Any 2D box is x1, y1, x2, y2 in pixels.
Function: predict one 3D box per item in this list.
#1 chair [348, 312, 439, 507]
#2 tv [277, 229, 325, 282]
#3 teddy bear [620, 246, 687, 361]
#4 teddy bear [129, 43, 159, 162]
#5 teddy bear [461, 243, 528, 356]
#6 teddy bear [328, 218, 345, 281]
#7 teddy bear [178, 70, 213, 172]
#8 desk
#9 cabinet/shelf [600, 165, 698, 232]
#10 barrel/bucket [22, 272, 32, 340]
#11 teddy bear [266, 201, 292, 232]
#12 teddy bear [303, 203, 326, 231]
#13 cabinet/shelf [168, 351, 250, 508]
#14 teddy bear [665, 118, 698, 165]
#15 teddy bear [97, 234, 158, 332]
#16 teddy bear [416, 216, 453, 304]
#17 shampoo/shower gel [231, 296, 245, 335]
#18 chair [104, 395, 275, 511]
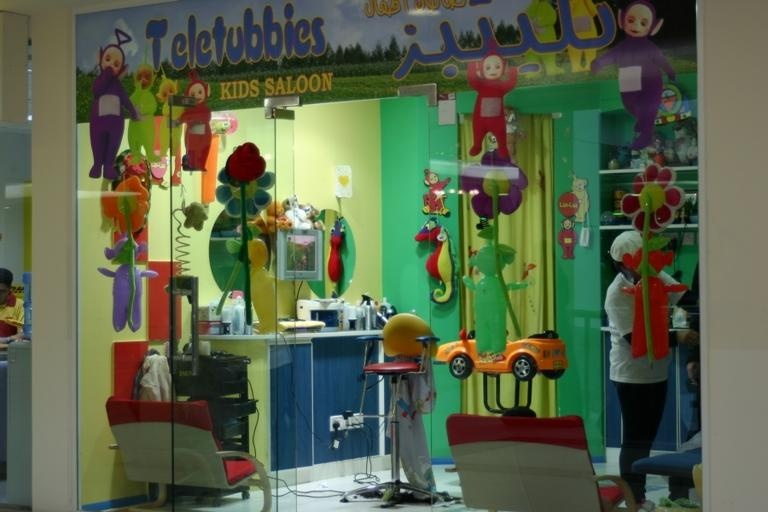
[{"bbox_3d":[0.130,1.129,6.541,0.500,1.412,0.899,0,-6,-19],"label":"chair"},{"bbox_3d":[-0.722,-0.059,7.628,0.394,0.434,0.252,-1,15,-1],"label":"tv"},{"bbox_3d":[1.749,0.293,5.795,0.451,0.759,0.258,5,14,37],"label":"teddy bear"},{"bbox_3d":[-1.778,-1.076,6.370,0.253,0.686,0.082,-5,-6,27],"label":"teddy bear"},{"bbox_3d":[0.755,0.293,5.883,0.595,1.010,0.248,-4,-9,29],"label":"teddy bear"},{"bbox_3d":[-0.439,-0.056,7.702,0.123,0.599,0.133,3,2,1],"label":"teddy bear"},{"bbox_3d":[-1.331,-0.970,6.126,0.212,0.770,0.220,-1,-5,-12],"label":"teddy bear"},{"bbox_3d":[-0.699,1.073,6.535,0.425,0.995,1.049,-2,-5,32],"label":"desk"},{"bbox_3d":[1.748,-0.392,5.717,0.393,0.399,0.123,-23,-10,24],"label":"cabinet/shelf"},{"bbox_3d":[-2.722,0.365,6.684,0.098,0.480,0.099,-1,0,0],"label":"barrel/bucket"},{"bbox_3d":[-0.771,-0.284,6.082,0.074,0.189,0.130,-2,16,38],"label":"teddy bear"},{"bbox_3d":[-0.626,-0.361,7.623,0.195,0.211,0.069,29,-43,-35],"label":"teddy bear"},{"bbox_3d":[-1.220,1.163,6.099,0.643,0.973,0.572,-2,-4,28],"label":"cabinet/shelf"},{"bbox_3d":[1.934,-0.758,5.674,0.186,0.359,0.264,-5,4,-43],"label":"teddy bear"},{"bbox_3d":[-1.907,0.197,6.458,0.418,0.703,0.161,-4,-6,22],"label":"teddy bear"},{"bbox_3d":[0.402,0.031,6.718,0.313,0.724,0.266,4,-16,-1],"label":"teddy bear"},{"bbox_3d":[-1.013,0.401,5.996,0.086,0.258,0.040,0,-6,-16],"label":"shampoo/shower gel"},{"bbox_3d":[-1.435,1.378,6.143,1.331,0.793,0.435,-6,-7,34],"label":"chair"}]
